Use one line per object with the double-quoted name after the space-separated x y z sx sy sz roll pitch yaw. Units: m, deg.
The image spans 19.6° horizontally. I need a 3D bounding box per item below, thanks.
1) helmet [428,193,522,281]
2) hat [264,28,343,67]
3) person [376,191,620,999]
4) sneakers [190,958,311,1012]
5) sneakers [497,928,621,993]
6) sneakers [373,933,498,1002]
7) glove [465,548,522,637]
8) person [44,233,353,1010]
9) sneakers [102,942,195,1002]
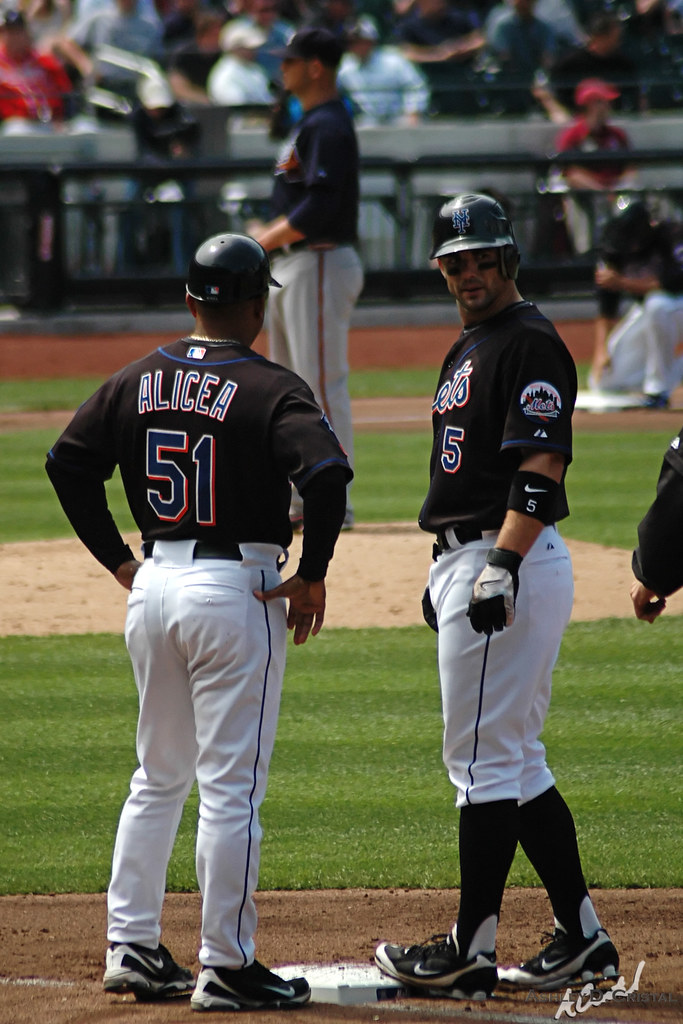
0.317 -0.648 4.659 0.174 0.199 0.227 -2 13 29 "helmet"
-0.143 -1.903 7.893 0.274 0.151 0.185 17 5 -10 "hat"
0.363 0.195 4.616 0.555 1.795 0.667 -1 15 -5 "person"
-0.214 1.072 4.499 0.286 0.124 0.100 0 -4 -13 "sneakers"
0.529 1.055 4.674 0.351 0.166 0.119 -8 -13 11 "sneakers"
0.228 1.045 4.608 0.336 0.151 0.114 7 -10 33 "sneakers"
0.348 0.176 4.475 0.108 0.197 0.145 3 14 11 "glove"
-0.322 0.228 4.609 0.698 1.684 0.818 -2 15 -8 "person"
-0.445 1.052 4.513 0.246 0.131 0.096 9 -10 -38 "sneakers"
